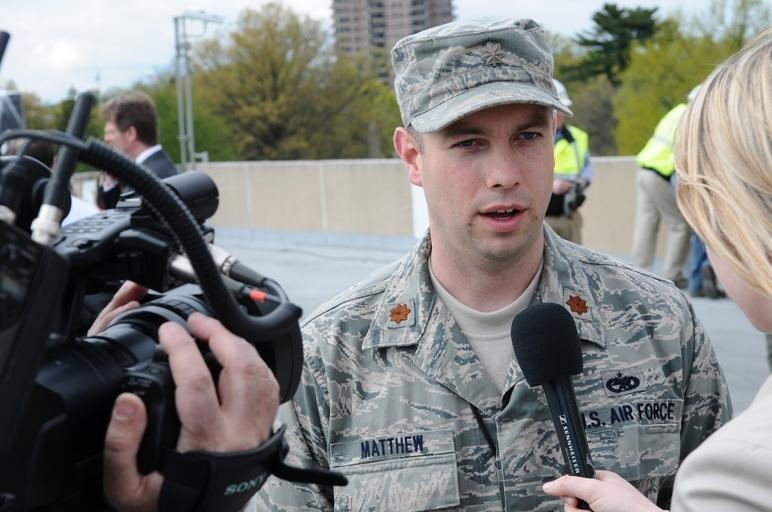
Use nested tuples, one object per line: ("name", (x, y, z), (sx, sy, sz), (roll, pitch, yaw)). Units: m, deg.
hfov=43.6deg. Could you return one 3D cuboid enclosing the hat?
("hat", (0.266, -0.552, 2.839), (0.339, 0.232, 0.431), (-7, 5, -22))
